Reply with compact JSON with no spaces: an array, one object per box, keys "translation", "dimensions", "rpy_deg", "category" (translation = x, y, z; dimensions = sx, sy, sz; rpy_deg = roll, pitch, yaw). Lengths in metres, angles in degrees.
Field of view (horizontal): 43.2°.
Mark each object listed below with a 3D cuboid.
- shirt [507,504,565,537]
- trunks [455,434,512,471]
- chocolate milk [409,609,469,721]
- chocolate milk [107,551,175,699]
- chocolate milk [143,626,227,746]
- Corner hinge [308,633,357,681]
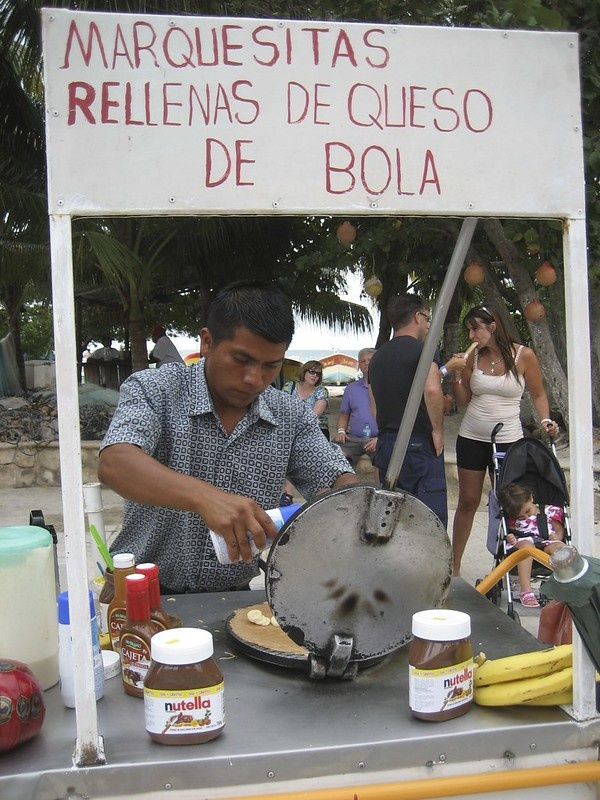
[{"translation":[1.358,0.698,4.284],"dimensions":[0.251,0.105,0.190],"rpy_deg":[26,-46,-37],"category":"shirt"},{"translation":[1.166,0.325,4.814],"dimensions":[0.347,0.326,0.202],"rpy_deg":[3,14,7],"category":"trunks"},{"translation":[0.244,0.452,1.304],"dimensions":[0.126,0.167,0.108],"rpy_deg":[-4,1,-26],"category":"chocolate milk"},{"translation":[-0.294,0.410,1.402],"dimensions":[0.098,0.236,0.090],"rpy_deg":[-2,0,-36],"category":"chocolate milk"},{"translation":[-0.186,0.455,1.190],"dimensions":[0.132,0.158,0.250],"rpy_deg":[-2,4,-20],"category":"chocolate milk"},{"translation":[0.064,0.480,1.418],"dimensions":[0.076,0.065,0.101],"rpy_deg":[4,-3,-7],"category":"Corner hinge"}]
